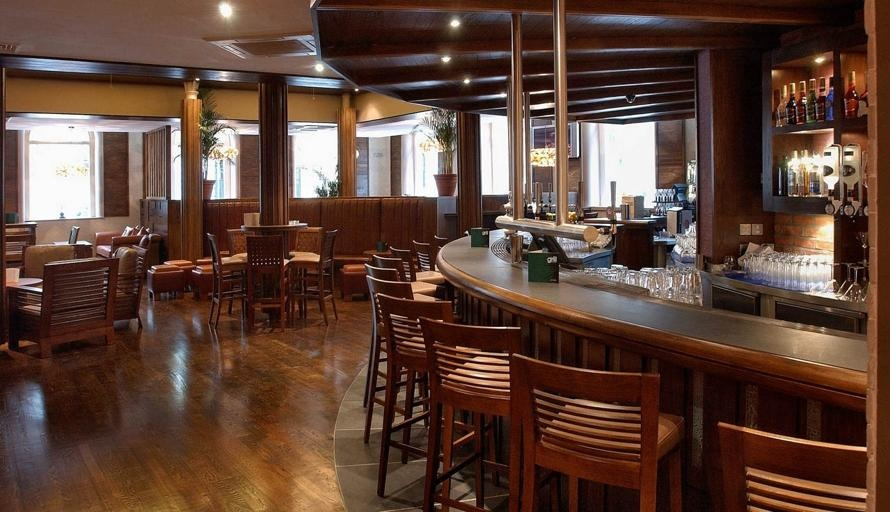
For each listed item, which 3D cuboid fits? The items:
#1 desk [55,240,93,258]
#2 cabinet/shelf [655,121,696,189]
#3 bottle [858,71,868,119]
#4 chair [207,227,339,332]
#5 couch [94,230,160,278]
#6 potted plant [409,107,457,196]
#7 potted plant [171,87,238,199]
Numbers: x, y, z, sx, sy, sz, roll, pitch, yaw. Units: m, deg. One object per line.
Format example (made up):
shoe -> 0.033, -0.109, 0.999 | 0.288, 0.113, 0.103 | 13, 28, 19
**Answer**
desk -> -6.782, -0.126, 11.620 | 0.235, 0.256, 0.405 | -2, 9, -13
cabinet/shelf -> 5.227, -2.338, 14.587 | 0.984, 1.561, 0.583 | 7, 16, 27
bottle -> 4.168, -1.604, 6.317 | 0.072, 0.409, 0.397 | 9, 16, 30
chair -> -2.771, 0.382, 10.472 | 1.927, 1.184, 1.829 | 1, 7, 5
couch -> -5.790, -0.053, 11.656 | 0.663, 0.731, 1.119 | 2, 2, -43
potted plant -> 0.053, -2.111, 12.828 | 1.216, 1.728, 0.996 | 1, 3, -28
potted plant -> -5.239, -2.324, 13.643 | 1.286, 1.990, 1.147 | 3, 2, -5
